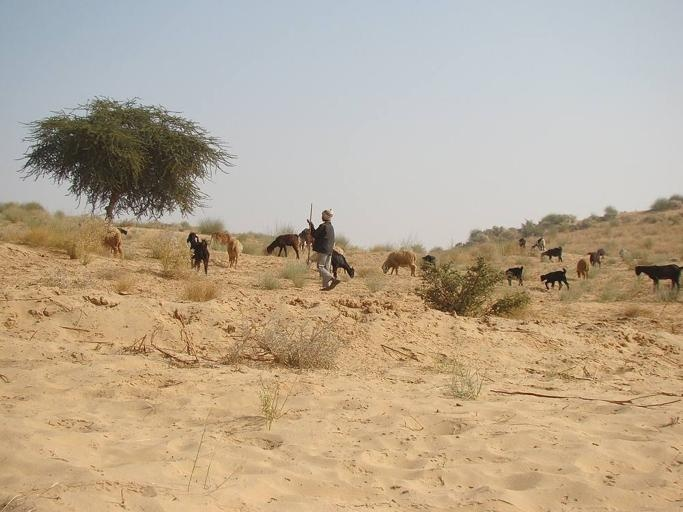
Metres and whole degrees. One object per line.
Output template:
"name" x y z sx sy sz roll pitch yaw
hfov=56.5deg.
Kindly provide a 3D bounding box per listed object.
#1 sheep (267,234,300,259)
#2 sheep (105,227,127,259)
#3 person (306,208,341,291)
"sheep" -2.290 -0.363 24.402 0.978 1.054 2.163 2 13 -15
"sheep" -6.374 -0.353 17.716 0.502 0.916 0.985 1 13 -19
"person" -0.445 -0.114 15.766 0.776 2.209 1.011 5 12 -1
